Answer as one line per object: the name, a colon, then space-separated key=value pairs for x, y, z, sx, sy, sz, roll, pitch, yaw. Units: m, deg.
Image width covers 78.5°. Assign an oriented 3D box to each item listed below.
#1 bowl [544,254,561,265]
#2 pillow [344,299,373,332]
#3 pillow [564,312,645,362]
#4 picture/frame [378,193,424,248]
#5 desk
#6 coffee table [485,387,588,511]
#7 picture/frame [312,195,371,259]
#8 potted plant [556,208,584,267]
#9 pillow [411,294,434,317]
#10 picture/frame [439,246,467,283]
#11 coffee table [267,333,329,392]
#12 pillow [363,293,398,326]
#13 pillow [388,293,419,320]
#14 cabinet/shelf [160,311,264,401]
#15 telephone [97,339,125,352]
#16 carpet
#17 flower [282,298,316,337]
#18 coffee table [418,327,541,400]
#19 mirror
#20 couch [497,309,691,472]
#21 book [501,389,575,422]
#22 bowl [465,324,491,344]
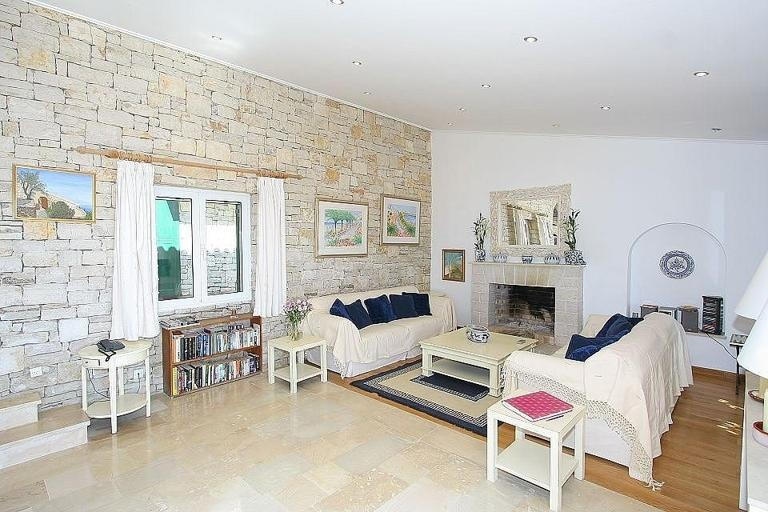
bowl: x=2.918 y=0.067 z=8.083 sx=0.200 sy=0.101 sz=0.200 roll=-1 pitch=6 yaw=0
pillow: x=-0.390 y=0.925 z=7.331 sx=0.127 sy=0.356 sz=0.414 roll=-30 pitch=-4 yaw=25
pillow: x=2.565 y=0.970 z=5.502 sx=0.883 sy=0.284 sz=0.607 roll=-23 pitch=2 yaw=-15
picture/frame: x=0.337 y=-0.680 z=8.974 sx=1.086 sy=0.922 sz=0.049 roll=-4 pitch=5 yaw=-45
desk: x=-3.268 y=1.558 z=5.742 sx=0.806 sy=0.847 sz=0.836 roll=-2 pitch=0 yaw=39
coffee table: x=1.530 y=1.904 z=5.052 sx=1.089 sy=0.958 sz=1.041 roll=1 pitch=3 yaw=37
picture/frame: x=-0.681 y=-0.464 z=7.999 sx=0.077 sy=0.948 sz=1.243 roll=4 pitch=4 yaw=41
potted plant: x=3.159 y=-0.327 z=7.902 sx=0.388 sy=0.921 sz=0.264 roll=1 pitch=4 yaw=29
pillow: x=0.676 y=0.859 z=8.227 sx=0.404 sy=0.335 sz=0.115 roll=-6 pitch=-15 yaw=-27
picture/frame: x=1.384 y=0.158 z=9.264 sx=0.790 sy=0.851 sz=0.067 roll=1 pitch=-1 yaw=45
coffee table: x=-1.235 y=1.490 z=6.764 sx=0.725 sy=0.671 sz=0.775 roll=2 pitch=4 yaw=40
pillow: x=-0.060 y=0.884 z=7.752 sx=0.482 sy=0.410 sz=0.141 roll=-11 pitch=-18 yaw=-43
pillow: x=0.329 y=0.862 z=8.037 sx=0.467 sy=0.386 sz=0.133 roll=-9 pitch=-21 yaw=-28
cabinet/shelf: x=-2.398 y=1.380 z=6.397 sx=0.396 sy=0.821 sz=1.226 roll=2 pitch=3 yaw=42
telephone: x=-3.211 y=1.062 z=5.537 sx=0.301 sy=0.102 sz=0.217 roll=1 pitch=3 yaw=38
carpet: x=0.669 y=1.873 z=6.313 sx=2.022 sy=0.299 sz=1.043 roll=1 pitch=3 yaw=41
flower: x=-1.332 y=0.929 z=6.979 sx=0.557 sy=0.581 sz=0.559 roll=0 pitch=2 yaw=-27
coffee table: x=1.375 y=1.376 z=6.729 sx=1.105 sy=0.391 sz=1.103 roll=3 pitch=5 yaw=42
mirror: x=2.654 y=-0.600 z=8.328 sx=1.574 sy=1.331 sz=0.209 roll=0 pitch=2 yaw=38
couch: x=2.306 y=0.957 z=5.259 sx=1.511 sy=0.837 sz=2.564 roll=4 pitch=8 yaw=42
book: x=1.555 y=1.516 z=4.720 sx=0.378 sy=0.048 sz=0.361 roll=-4 pitch=7 yaw=-26
bowl: x=1.355 y=1.119 z=6.749 sx=0.287 sy=0.117 sz=0.210 roll=1 pitch=3 yaw=16
